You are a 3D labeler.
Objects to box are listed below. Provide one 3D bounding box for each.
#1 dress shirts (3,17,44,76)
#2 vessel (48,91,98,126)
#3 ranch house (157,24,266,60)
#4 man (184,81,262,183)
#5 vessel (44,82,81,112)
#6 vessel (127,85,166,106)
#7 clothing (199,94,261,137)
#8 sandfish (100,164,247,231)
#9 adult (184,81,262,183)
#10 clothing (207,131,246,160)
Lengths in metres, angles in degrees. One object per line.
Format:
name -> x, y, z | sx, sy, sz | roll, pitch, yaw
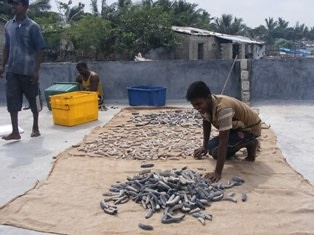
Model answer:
dress shirts -> -2.570, -1.375, 7.212 | 0.796, 1.115, 0.437 | -1, 9, -8
vessel -> -1.923, -0.289, 8.686 | 0.715, 0.662, 0.989 | 5, 11, 32
ranch house -> 5.405, -5.945, 30.801 | 4.299, 2.196, 12.822 | 5, 11, 28
man -> 1.025, 0.108, 5.864 | 1.160, 1.357, 0.886 | -9, 12, -31
vessel -> -2.537, -0.521, 10.101 | 0.964, 0.802, 0.709 | 1, 10, 25
vessel -> -0.300, -0.644, 10.918 | 0.826, 0.412, 0.633 | 4, 13, 24
clothing -> 1.161, 0.015, 5.833 | 0.792, 0.621, 1.118 | -3, 2, -7
sandfish -> 0.076, 1.040, 5.010 | 1.033, 0.230, 0.959 | -1, 12, 21
adult -> 1.014, 0.087, 5.859 | 1.167, 1.402, 0.897 | -10, 12, -34
clothing -> 1.121, 0.405, 5.902 | 0.570, 0.184, 0.330 | -25, 18, -30
